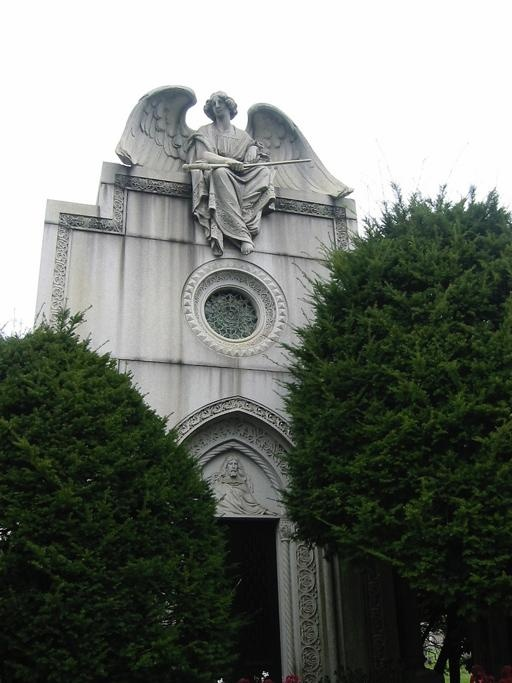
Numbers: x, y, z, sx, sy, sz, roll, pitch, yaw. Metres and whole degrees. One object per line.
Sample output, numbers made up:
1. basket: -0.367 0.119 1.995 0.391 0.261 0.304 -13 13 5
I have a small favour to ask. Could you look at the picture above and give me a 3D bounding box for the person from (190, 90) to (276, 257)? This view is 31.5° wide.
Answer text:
1. person: -0.585 -3.433 18.653 1.752 3.699 0.645 10 -25 -22
